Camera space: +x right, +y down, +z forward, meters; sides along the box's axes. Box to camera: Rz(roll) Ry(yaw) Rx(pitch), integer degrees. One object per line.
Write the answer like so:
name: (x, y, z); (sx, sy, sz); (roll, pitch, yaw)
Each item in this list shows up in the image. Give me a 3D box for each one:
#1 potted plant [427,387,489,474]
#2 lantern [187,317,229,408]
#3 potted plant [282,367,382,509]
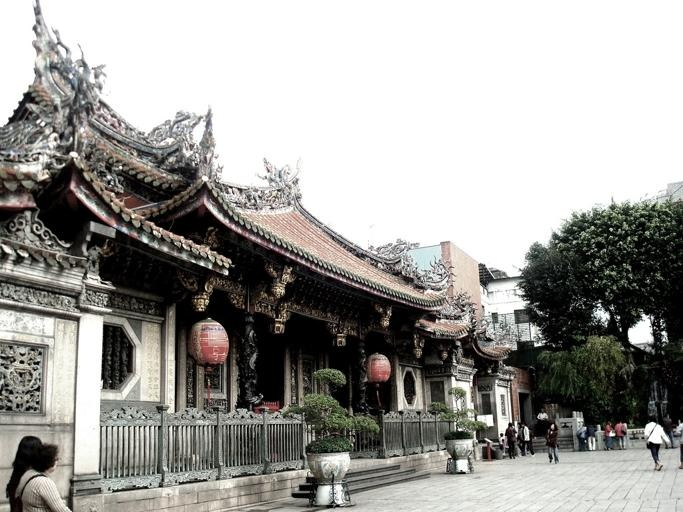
potted plant: (3.301, 4.840, 17.916); (1.635, 2.365, 1.114); (1, -10, 2)
lantern: (-2.462, 1.981, 12.161); (0.777, 1.704, 0.857); (4, -17, -15)
potted plant: (-0.239, 3.921, 13.637); (2.270, 3.004, 1.548); (2, -27, -4)
